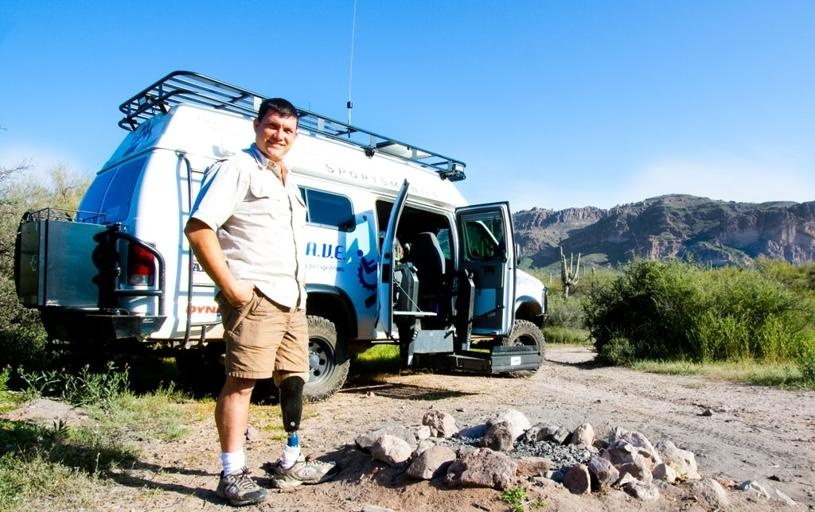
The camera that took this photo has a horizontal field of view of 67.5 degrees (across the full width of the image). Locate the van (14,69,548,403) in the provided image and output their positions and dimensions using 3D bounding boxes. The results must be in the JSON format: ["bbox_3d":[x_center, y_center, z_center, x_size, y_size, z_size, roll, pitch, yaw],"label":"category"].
[{"bbox_3d":[-1.620,-0.108,10.789,8.601,4.022,4.551,4,-5,-38],"label":"van"}]

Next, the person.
[{"bbox_3d":[-1.644,0.452,6.554,1.401,4.313,0.597,3,-8,-22],"label":"person"}]
